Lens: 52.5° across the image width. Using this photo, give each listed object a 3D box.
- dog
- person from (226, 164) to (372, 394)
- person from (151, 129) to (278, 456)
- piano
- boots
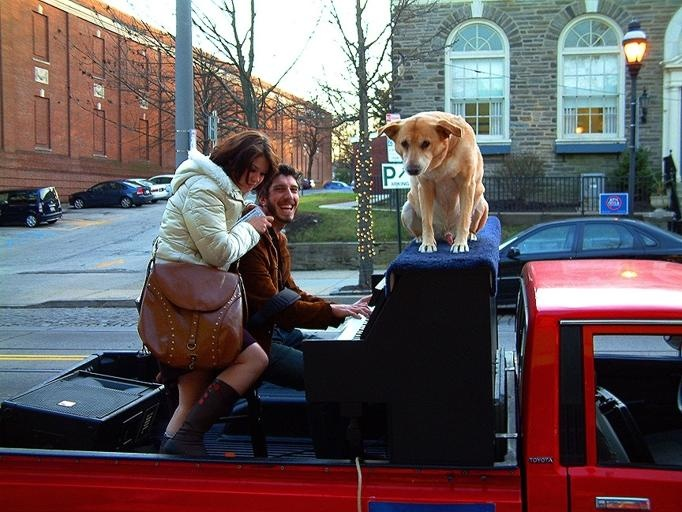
[{"bbox_3d":[0.627,-0.469,4.469,0.536,0.893,1.078,-1,5,18],"label":"dog"},{"bbox_3d":[-0.327,0.267,4.765,0.741,1.692,0.672,1,1,23],"label":"person"},{"bbox_3d":[-0.674,0.175,4.297,0.790,1.804,0.732,1,2,10],"label":"person"},{"bbox_3d":[0.383,0.640,3.840,1.011,1.360,0.800,2,8,14],"label":"piano"},{"bbox_3d":[-0.868,0.889,4.152,0.546,0.427,0.400,-3,9,-44],"label":"boots"}]
